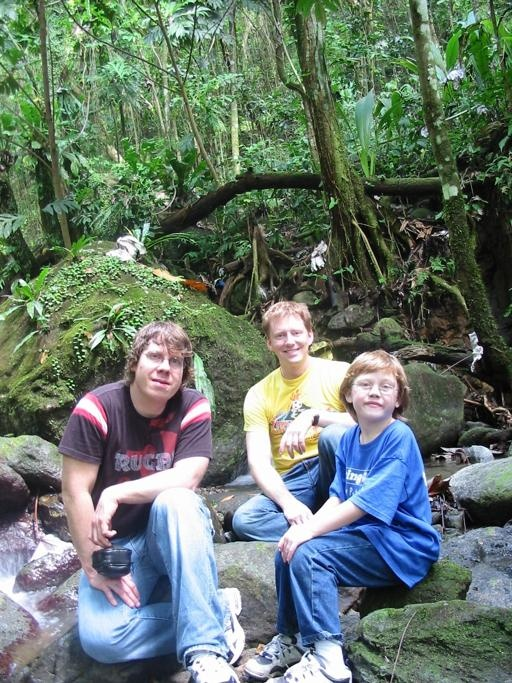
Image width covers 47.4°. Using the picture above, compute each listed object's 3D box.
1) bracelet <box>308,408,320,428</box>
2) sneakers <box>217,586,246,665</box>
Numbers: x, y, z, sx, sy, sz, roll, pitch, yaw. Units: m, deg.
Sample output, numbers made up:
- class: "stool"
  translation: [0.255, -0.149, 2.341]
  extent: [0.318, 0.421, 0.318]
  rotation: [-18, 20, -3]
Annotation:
- class: "bracelet"
  translation: [0.269, 0.344, 2.635]
  extent: [0.069, 0.053, 0.100]
  rotation: [-6, -36, 2]
- class: "sneakers"
  translation: [-0.084, 1.026, 2.117]
  extent: [0.130, 0.272, 0.091]
  rotation: [1, 1, 21]
